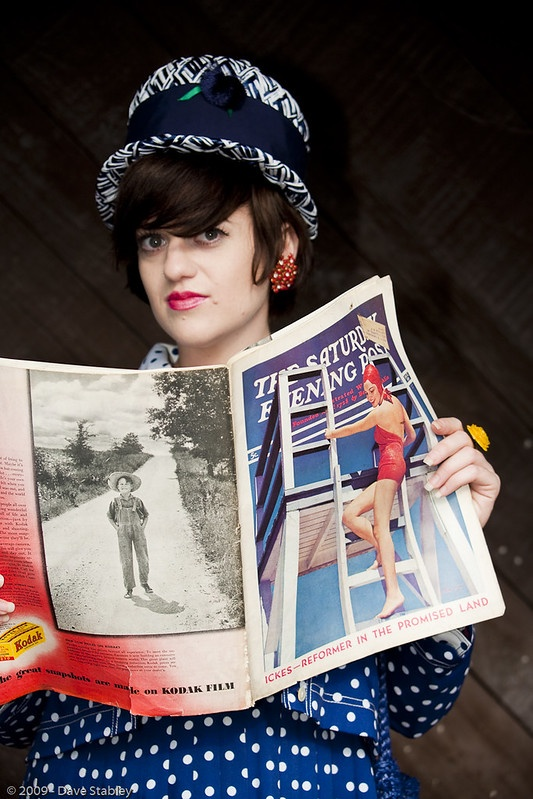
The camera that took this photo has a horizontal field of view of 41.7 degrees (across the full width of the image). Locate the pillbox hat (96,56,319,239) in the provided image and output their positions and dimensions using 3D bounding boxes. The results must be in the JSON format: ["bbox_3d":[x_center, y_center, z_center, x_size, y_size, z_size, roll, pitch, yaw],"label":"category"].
[{"bbox_3d":[-0.081,-0.319,0.876,0.263,0.282,0.149,1,88,-36],"label":"pillbox hat"}]

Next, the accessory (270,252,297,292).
[{"bbox_3d":[0.019,-0.148,0.840,0.020,0.042,0.032,34,35,9],"label":"accessory"}]
